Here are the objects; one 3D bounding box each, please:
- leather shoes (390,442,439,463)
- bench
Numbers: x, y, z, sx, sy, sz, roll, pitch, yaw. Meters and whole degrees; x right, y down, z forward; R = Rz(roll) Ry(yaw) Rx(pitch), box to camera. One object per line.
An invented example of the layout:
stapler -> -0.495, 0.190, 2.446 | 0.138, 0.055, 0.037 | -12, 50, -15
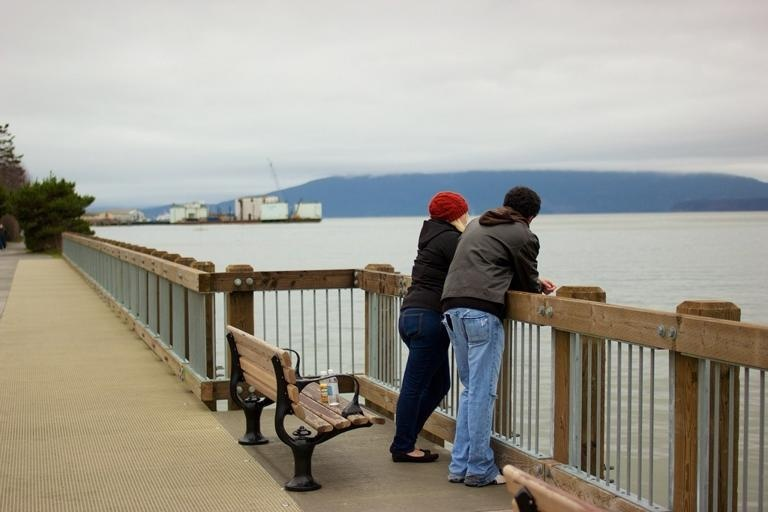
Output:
leather shoes -> 0.298, 1.816, 8.562 | 0.403, 0.123, 0.154 | -4, 4, -5
bench -> -0.747, 1.308, 8.438 | 0.799, 1.255, 1.527 | -7, 8, -28
